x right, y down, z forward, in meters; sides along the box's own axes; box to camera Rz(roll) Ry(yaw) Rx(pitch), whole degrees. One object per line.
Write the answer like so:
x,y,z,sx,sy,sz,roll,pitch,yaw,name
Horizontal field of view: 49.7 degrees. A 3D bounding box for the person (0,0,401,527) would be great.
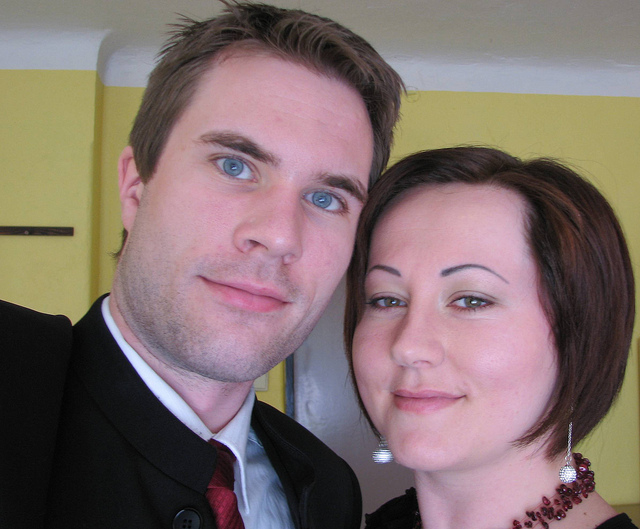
-0.357,0.031,2.240,1.305,1.866,0.583,1,2,-40,person
